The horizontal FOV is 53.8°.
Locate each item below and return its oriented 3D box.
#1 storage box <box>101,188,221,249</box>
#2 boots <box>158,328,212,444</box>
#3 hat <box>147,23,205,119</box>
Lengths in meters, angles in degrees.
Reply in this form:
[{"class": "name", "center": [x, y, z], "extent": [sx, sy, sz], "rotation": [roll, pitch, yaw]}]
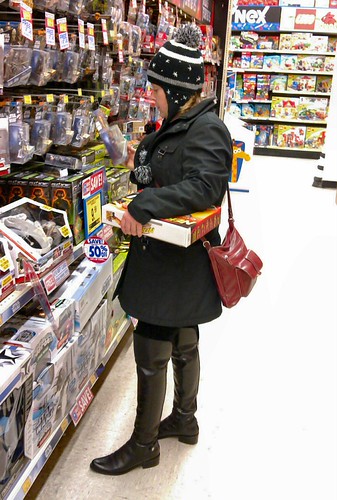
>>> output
[{"class": "storage box", "center": [-0.039, -0.069, 0.988], "extent": [0.319, 0.140, 0.290], "rotation": [9, 17, 25]}, {"class": "boots", "center": [0.002, 0.551, 1.407], "extent": [0.254, 0.503, 0.113], "rotation": [1, -1, 10]}, {"class": "hat", "center": [0.018, -0.541, 1.015], "extent": [0.172, 0.279, 0.160], "rotation": [2, 14, 2]}]
